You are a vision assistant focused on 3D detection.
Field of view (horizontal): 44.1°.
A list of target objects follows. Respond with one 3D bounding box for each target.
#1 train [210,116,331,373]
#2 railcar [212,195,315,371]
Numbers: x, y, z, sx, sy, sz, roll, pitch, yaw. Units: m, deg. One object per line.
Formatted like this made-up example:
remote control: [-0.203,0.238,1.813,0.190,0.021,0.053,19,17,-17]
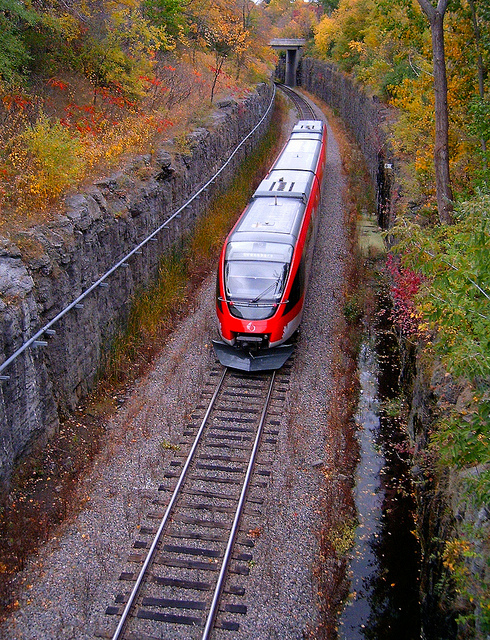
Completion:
train: [1.002,-3.344,16.598,1.723,2.507,11.106,5,50,7]
railcar: [0.526,-1.387,14.745,1.387,1.884,5.619,2,43,9]
